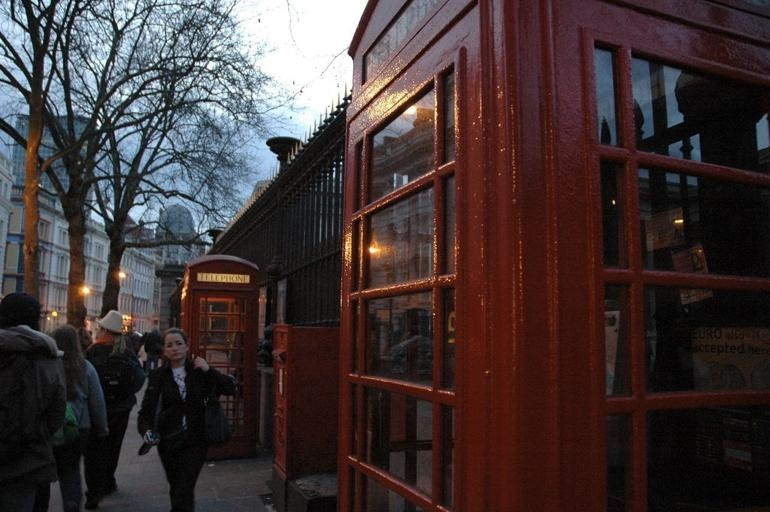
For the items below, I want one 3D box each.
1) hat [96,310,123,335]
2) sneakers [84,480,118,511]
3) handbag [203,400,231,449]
[{"bbox_3d":[-3.361,0.863,7.919,0.279,0.127,0.323,22,-17,-10],"label":"hat"},{"bbox_3d":[-3.174,2.653,7.183,0.143,0.192,0.440,-10,9,-2],"label":"sneakers"},{"bbox_3d":[-1.484,1.477,5.685,0.234,0.407,0.237,8,-14,-15],"label":"handbag"}]
